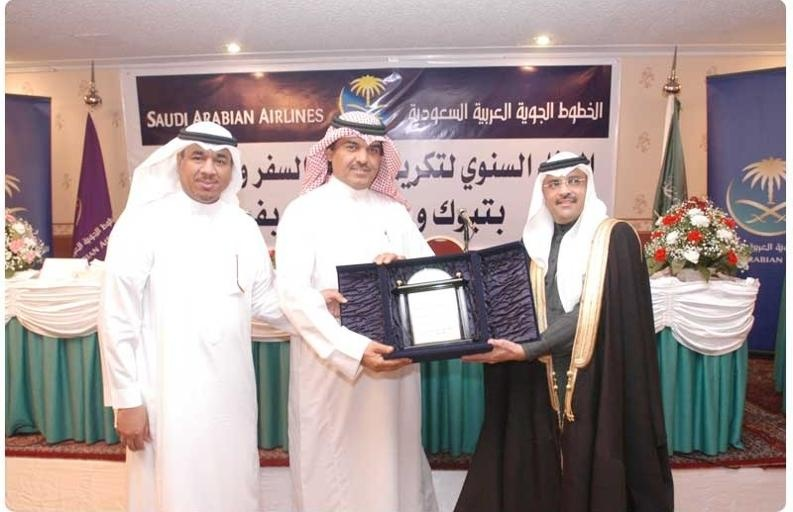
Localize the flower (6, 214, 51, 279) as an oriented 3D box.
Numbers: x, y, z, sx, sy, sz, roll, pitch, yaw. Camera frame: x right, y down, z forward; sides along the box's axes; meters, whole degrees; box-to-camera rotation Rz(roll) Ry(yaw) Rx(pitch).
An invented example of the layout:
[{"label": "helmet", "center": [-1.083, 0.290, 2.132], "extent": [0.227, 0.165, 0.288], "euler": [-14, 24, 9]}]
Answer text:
[{"label": "flower", "center": [-3.835, -0.071, 7.536], "extent": [0.359, 0.645, 1.511], "euler": [0, -4, -26]}]

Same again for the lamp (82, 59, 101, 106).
[{"label": "lamp", "center": [-3.566, -2.006, 8.570], "extent": [0.215, 0.634, 0.712], "euler": [0, -3, -23]}]

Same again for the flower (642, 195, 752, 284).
[{"label": "flower", "center": [2.748, -0.059, 6.626], "extent": [0.794, 0.678, 0.803], "euler": [-4, -9, 40]}]

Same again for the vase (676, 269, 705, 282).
[{"label": "vase", "center": [2.598, 0.170, 6.429], "extent": [0.235, 0.121, 0.080], "euler": [-3, -3, 19]}]
